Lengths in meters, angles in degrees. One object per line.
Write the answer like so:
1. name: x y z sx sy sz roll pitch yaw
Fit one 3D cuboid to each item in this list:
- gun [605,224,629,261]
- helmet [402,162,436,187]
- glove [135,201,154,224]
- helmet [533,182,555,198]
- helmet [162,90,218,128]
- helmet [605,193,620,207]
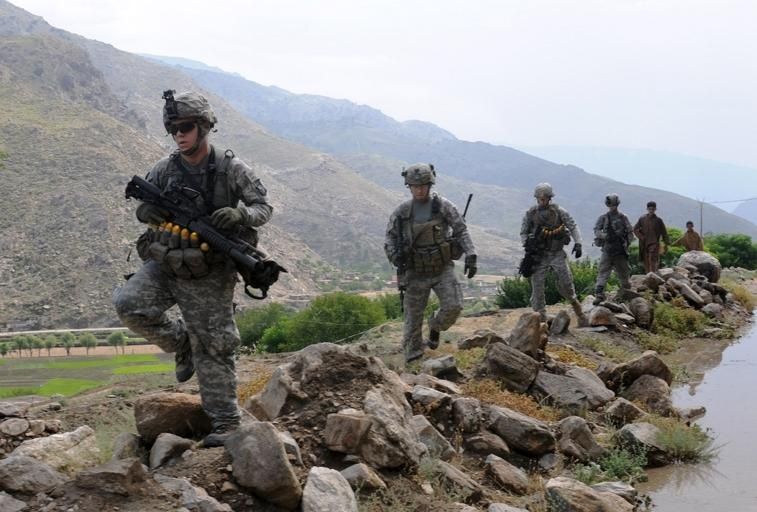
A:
1. gun: 5.655 -0.338 13.708 0.610 0.731 0.753 0 37 5
2. helmet: 0.654 -1.302 9.364 0.494 0.237 0.457 0 10 6
3. glove: -2.506 -0.457 6.208 0.247 0.221 0.105 1 2 4
4. helmet: 3.429 -1.351 12.011 0.508 0.289 0.442 1 12 19
5. helmet: -2.112 -1.587 6.307 0.474 0.308 0.569 5 10 34
6. helmet: 5.490 -1.309 13.591 0.391 0.306 0.417 -3 -8 12
